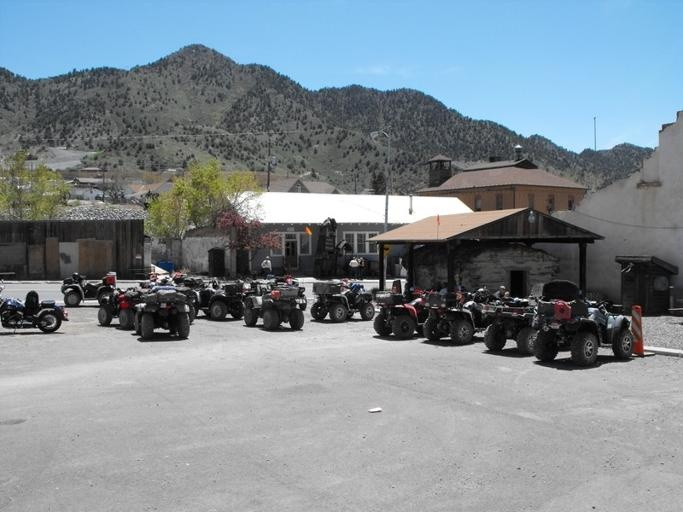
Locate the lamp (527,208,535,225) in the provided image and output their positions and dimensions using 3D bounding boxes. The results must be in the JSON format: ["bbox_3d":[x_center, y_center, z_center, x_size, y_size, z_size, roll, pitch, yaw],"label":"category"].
[{"bbox_3d":[7.350,-1.495,26.994,0.440,0.549,0.186,3,-3,-38],"label":"lamp"}]

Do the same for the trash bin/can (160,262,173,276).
[{"bbox_3d":[-11.927,0.845,48.177,0.512,1.144,0.557,1,14,-3],"label":"trash bin/can"}]
